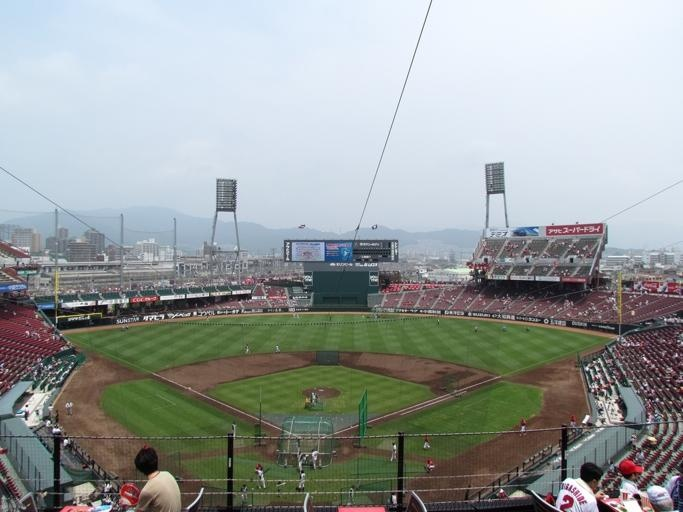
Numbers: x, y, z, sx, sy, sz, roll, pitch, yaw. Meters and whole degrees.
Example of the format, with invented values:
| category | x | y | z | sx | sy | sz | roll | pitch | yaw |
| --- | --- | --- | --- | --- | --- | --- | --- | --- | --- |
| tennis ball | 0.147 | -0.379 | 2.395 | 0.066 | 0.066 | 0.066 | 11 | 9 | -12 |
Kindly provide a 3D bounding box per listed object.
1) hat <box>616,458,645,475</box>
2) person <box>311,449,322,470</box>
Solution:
| category | x | y | z | sx | sy | sz | roll | pitch | yaw |
| --- | --- | --- | --- | --- | --- | --- | --- | --- | --- |
| hat | 9.345 | 6.828 | 19.713 | 0.392 | 0.474 | 0.886 | 7 | 5 | 38 |
| person | -1.470 | 11.335 | 34.073 | 0.526 | 0.927 | 0.600 | -6 | -3 | -2 |
